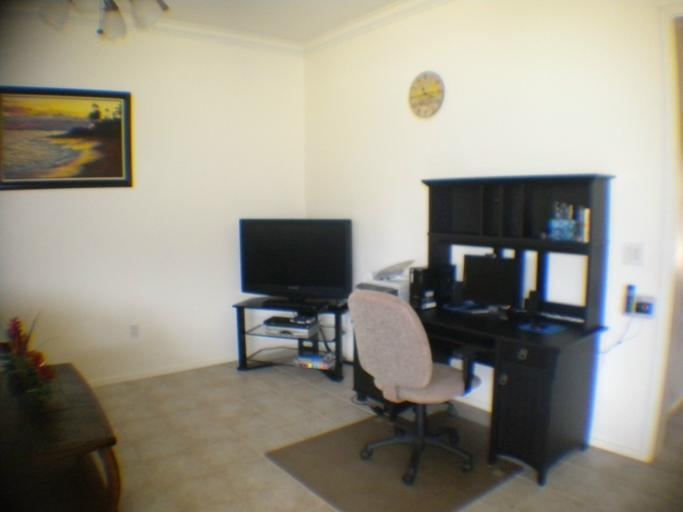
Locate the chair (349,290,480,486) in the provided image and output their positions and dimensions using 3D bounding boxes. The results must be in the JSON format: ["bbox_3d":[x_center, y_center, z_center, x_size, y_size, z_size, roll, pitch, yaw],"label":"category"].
[{"bbox_3d":[0.542,0.848,3.850,0.790,1.319,0.819,4,13,31],"label":"chair"}]

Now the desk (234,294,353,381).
[{"bbox_3d":[-0.498,0.768,5.259,1.133,0.691,0.451,1,6,17],"label":"desk"}]

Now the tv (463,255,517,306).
[{"bbox_3d":[1.139,0.179,4.142,0.358,0.328,0.119,3,5,43],"label":"tv"}]

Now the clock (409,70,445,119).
[{"bbox_3d":[0.721,-1.363,4.609,0.086,0.349,0.332,-5,26,-41],"label":"clock"}]

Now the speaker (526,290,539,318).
[{"bbox_3d":[1.374,0.346,3.925,0.088,0.179,0.052,0,-5,38],"label":"speaker"}]

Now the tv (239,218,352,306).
[{"bbox_3d":[-0.403,0.041,5.196,0.763,0.565,0.214,2,9,16],"label":"tv"}]
